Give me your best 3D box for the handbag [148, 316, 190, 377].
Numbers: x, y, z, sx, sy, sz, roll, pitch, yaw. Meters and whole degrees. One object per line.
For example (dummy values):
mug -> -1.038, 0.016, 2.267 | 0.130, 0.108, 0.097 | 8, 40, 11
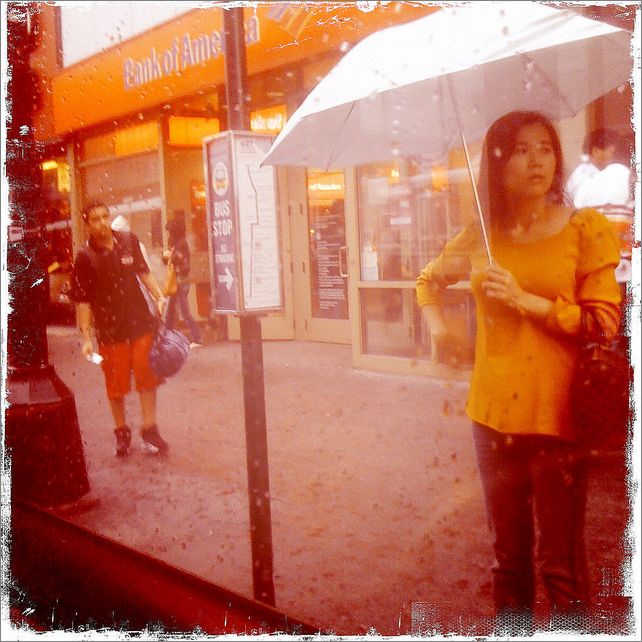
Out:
handbag -> -0.982, 0.178, 4.182 | 0.205, 0.341, 0.139 | -9, -18, 26

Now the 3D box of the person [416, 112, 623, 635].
person -> 0.610, 0.181, 1.773 | 0.403, 1.485, 0.167 | -2, 8, 21

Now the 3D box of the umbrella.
umbrella -> 0.551, -0.761, 2.244 | 0.950, 0.664, 0.948 | -27, 9, -39

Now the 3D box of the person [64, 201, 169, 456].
person -> -1.359, 0.037, 4.288 | 0.567, 1.654, 0.457 | -6, 8, -4

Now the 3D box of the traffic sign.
traffic sign -> -0.412, -0.388, 2.619 | 0.068, 0.714, 0.289 | -9, 9, -28
